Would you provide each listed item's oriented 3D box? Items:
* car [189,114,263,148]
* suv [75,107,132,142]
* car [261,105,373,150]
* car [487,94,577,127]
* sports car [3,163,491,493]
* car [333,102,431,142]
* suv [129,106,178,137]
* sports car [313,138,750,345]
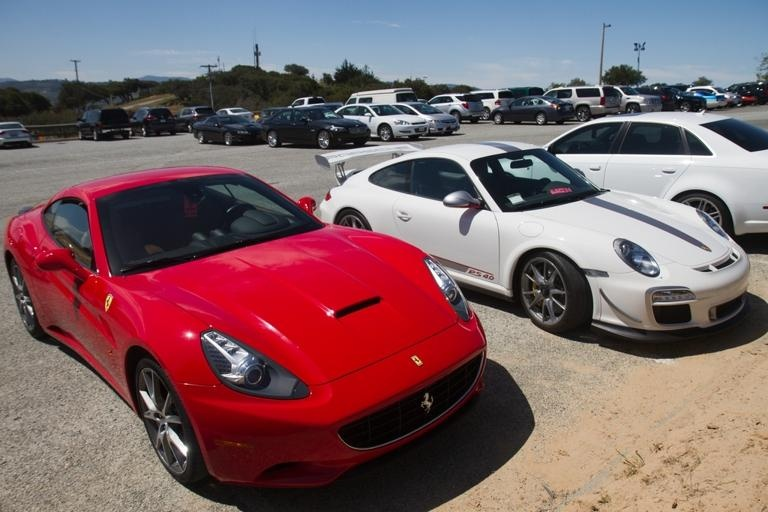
[{"bbox_3d":[-8.155,-6.685,25.065,4.095,1.573,1.453,9,21,37],"label":"car"},{"bbox_3d":[-20.149,-9.342,33.550,5.935,2.154,2.221,8,20,34],"label":"suv"},{"bbox_3d":[-3.262,-5.931,21.777,4.868,1.887,1.419,9,21,36],"label":"car"},{"bbox_3d":[8.573,-8.593,27.901,4.796,1.325,2.109,13,26,35],"label":"car"},{"bbox_3d":[-1.570,0.275,3.833,4.156,1.065,2.118,18,26,36],"label":"sports car"},{"bbox_3d":[-0.310,-6.589,23.093,4.711,1.194,2.049,10,24,31],"label":"car"},{"bbox_3d":[-17.122,-9.927,34.902,3.088,2.101,2.043,8,20,33],"label":"suv"},{"bbox_3d":[1.476,-0.535,5.952,5.022,1.243,2.723,20,30,39],"label":"sports car"}]
